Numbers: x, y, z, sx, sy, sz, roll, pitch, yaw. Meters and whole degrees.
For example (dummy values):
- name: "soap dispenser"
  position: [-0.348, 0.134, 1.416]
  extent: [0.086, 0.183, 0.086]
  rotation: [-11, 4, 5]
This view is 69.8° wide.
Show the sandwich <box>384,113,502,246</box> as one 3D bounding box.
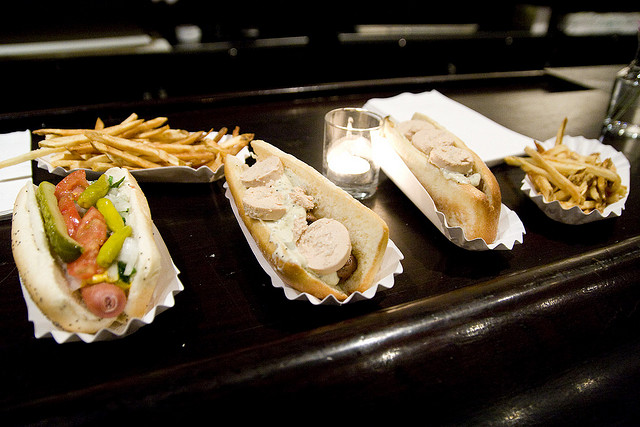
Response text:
- name: "sandwich"
  position: [0.674, -0.224, 2.529]
  extent: [0.353, 0.270, 0.888]
  rotation: [-25, 55, -9]

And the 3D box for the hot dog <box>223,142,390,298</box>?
- name: "hot dog"
  position: [-0.106, -0.007, 2.181]
  extent: [0.489, 0.260, 0.874]
  rotation: [-26, 58, -26]

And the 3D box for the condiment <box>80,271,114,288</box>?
- name: "condiment"
  position: [-0.936, 0.277, 1.915]
  extent: [0.081, 0.027, 0.078]
  rotation: [-6, 24, 10]

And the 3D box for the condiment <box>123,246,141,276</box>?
- name: "condiment"
  position: [-0.811, 0.206, 1.970]
  extent: [0.036, 0.027, 0.132]
  rotation: [22, 73, 1]

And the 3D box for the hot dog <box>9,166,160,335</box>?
- name: "hot dog"
  position: [-1.039, 0.150, 1.993]
  extent: [0.541, 0.270, 0.832]
  rotation: [-14, 57, -18]

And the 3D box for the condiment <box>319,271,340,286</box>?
- name: "condiment"
  position: [0.045, 0.292, 2.027]
  extent: [0.087, 0.062, 0.037]
  rotation: [-9, 52, -9]

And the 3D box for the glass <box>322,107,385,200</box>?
- name: "glass"
  position: [0.159, -0.348, 2.510]
  extent: [0.295, 0.490, 0.388]
  rotation: [-11, 30, -22]
